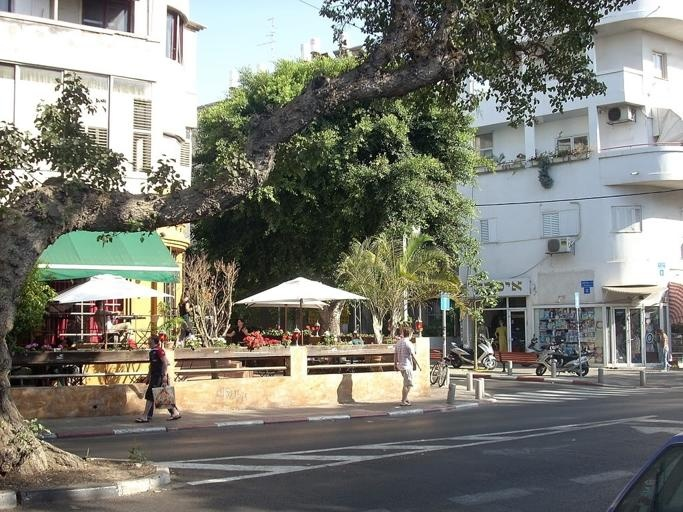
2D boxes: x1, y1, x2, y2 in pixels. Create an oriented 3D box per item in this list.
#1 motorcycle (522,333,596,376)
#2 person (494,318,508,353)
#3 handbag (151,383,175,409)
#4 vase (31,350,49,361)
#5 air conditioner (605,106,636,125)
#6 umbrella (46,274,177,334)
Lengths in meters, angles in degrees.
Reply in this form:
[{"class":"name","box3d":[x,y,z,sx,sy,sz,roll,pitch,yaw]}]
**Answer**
[{"class":"motorcycle","box3d":[8.743,3.886,39.027,2.535,1.827,1.614,1,-5,18]},{"class":"person","box3d":[7.860,3.800,47.061,0.581,1.471,1.470,-1,-4,9]},{"class":"handbag","box3d":[-4.454,3.419,23.850,0.570,0.806,0.235,0,2,-27]},{"class":"vase","box3d":[-7.606,2.518,24.271,0.597,0.302,0.118,1,-4,-22]},{"class":"air conditioner","box3d":[13.143,-6.632,45.086,1.231,0.774,0.793,-2,-4,15]},{"class":"umbrella","box3d":[-6.720,1.285,27.155,2.704,1.630,1.524,1,-4,-20]}]
